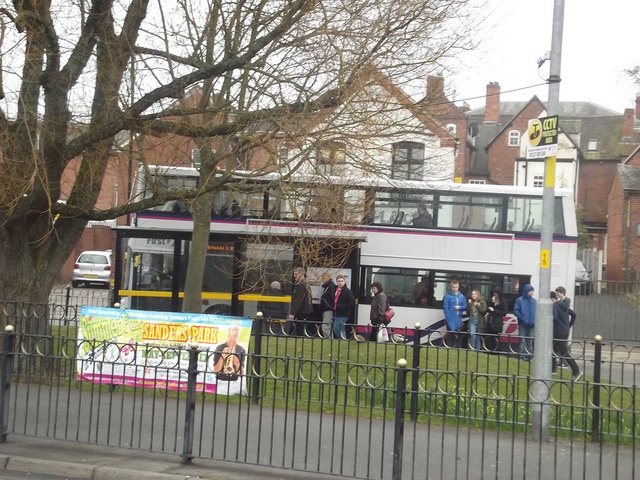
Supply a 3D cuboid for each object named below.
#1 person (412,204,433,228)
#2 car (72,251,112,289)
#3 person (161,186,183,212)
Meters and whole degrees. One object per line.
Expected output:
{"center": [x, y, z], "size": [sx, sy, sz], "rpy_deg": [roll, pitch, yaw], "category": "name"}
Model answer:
{"center": [2.808, -0.590, 37.458], "size": [0.582, 0.743, 0.845], "rpy_deg": [4, 3, 12], "category": "person"}
{"center": [-8.575, 1.113, 51.639], "size": [1.049, 0.853, 1.880], "rpy_deg": [1, 5, -1], "category": "car"}
{"center": [-4.177, -1.122, 37.100], "size": [0.210, 0.747, 0.793], "rpy_deg": [5, 3, -35], "category": "person"}
